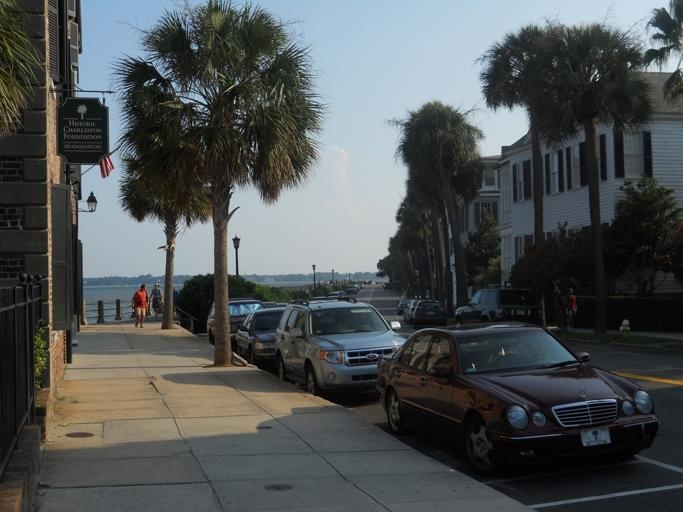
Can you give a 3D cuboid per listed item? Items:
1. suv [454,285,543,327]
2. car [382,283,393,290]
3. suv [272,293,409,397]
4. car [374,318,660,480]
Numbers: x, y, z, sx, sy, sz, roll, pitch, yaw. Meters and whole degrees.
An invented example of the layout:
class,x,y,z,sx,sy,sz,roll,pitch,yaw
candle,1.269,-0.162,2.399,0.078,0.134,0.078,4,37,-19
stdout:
class,x,y,z,sx,sy,sz,roll,pitch,yaw
suv,6.726,2.220,26.964,1.701,1.417,3.117,1,0,-16
car,14.002,9.574,189.663,2.270,2.520,4.488,0,-9,-2
suv,-0.319,2.086,14.418,1.640,1.431,2.967,0,-7,-21
car,2.012,2.000,9.084,1.701,1.258,3.727,0,-8,-19
